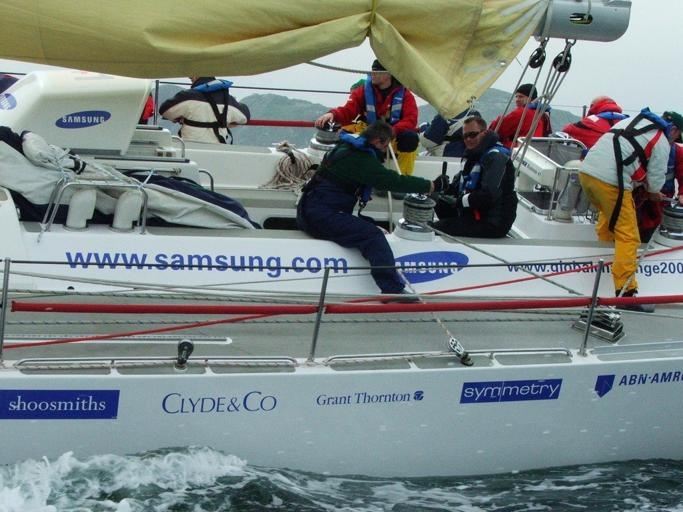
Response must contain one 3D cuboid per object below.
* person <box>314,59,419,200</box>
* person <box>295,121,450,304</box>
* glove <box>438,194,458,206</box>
[{"bbox_3d":[0.241,-1.171,6.657,0.883,0.842,0.558,5,38,16],"label":"person"},{"bbox_3d":[0.391,-0.365,5.471,1.306,1.054,1.002,6,21,29],"label":"person"},{"bbox_3d":[0.777,-0.402,5.730,0.154,0.041,0.085,7,1,-29],"label":"glove"}]
